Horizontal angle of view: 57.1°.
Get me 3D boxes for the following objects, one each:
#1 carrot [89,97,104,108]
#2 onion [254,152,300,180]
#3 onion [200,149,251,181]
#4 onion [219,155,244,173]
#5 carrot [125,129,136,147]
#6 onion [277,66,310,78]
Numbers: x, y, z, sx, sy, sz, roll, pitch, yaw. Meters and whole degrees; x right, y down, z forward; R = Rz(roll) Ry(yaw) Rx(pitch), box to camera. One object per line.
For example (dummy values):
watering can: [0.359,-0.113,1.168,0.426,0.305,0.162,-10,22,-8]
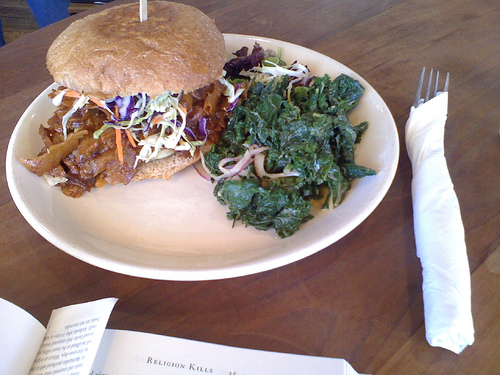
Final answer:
carrot: [-0.669,-0.372,2.012,0.051,0.012,0.009,34,112,1]
onion: [0.105,-0.095,2.034,0.162,0.032,0.101,19,68,8]
onion: [-0.123,-0.122,2.126,0.235,0.299,0.081,-2,108,4]
onion: [-0.086,-0.111,2.102,0.096,0.028,0.069,-30,95,-17]
carrot: [-0.534,-0.219,2.071,0.015,0.019,0.088,-45,111,-37]
onion: [0.215,-0.582,2.356,0.159,0.036,0.030,9,65,5]
